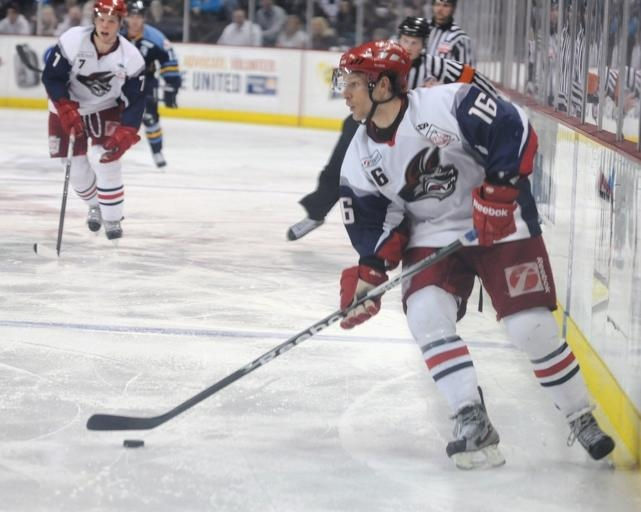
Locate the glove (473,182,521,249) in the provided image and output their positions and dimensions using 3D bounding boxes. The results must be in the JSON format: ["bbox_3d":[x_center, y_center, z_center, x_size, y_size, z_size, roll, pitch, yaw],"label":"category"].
[{"bbox_3d":[0.524,-0.132,2.526,0.145,0.179,0.124,1,18,-3],"label":"glove"}]

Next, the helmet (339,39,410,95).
[{"bbox_3d":[0.174,-0.588,2.677,0.206,0.172,0.149,7,6,6],"label":"helmet"}]

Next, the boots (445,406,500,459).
[{"bbox_3d":[0.430,0.498,2.487,0.157,0.137,0.092,-15,-1,-17],"label":"boots"}]

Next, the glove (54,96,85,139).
[{"bbox_3d":[-1.388,-0.763,4.706,0.078,0.204,0.137,-19,1,32],"label":"glove"}]

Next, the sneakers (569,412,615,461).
[{"bbox_3d":[0.811,0.537,2.595,0.077,0.081,0.207,-41,12,3],"label":"sneakers"}]

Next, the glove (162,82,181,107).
[{"bbox_3d":[-1.307,-1.393,7.458,0.194,0.280,0.189,2,-1,-8],"label":"glove"}]

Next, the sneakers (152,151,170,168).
[{"bbox_3d":[-1.423,-0.844,7.506,0.160,0.060,0.243,-4,26,-15],"label":"sneakers"}]

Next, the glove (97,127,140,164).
[{"bbox_3d":[-1.142,-0.630,4.865,0.268,0.155,0.078,-41,-20,-5],"label":"glove"}]

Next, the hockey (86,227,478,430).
[{"bbox_3d":[-0.165,0.297,3.271,1.246,0.104,0.147,-28,21,18],"label":"hockey"}]

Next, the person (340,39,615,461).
[{"bbox_3d":[0.433,-0.015,2.606,0.932,1.209,0.551,16,22,36],"label":"person"}]

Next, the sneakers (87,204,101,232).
[{"bbox_3d":[-1.400,-0.227,5.201,0.068,0.174,0.075,-2,-2,-37],"label":"sneakers"}]

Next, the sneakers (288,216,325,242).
[{"bbox_3d":[-0.083,-0.156,4.913,0.213,0.049,0.111,-27,49,-6],"label":"sneakers"}]

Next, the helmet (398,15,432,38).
[{"bbox_3d":[0.490,-1.188,4.406,0.128,0.125,0.143,7,20,15],"label":"helmet"}]
